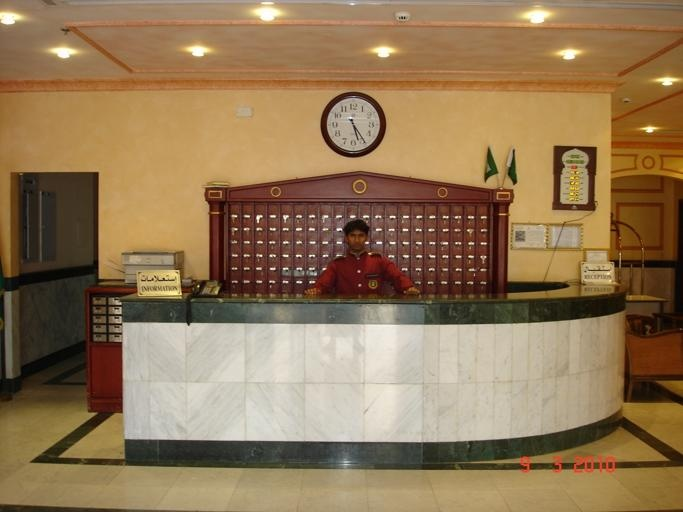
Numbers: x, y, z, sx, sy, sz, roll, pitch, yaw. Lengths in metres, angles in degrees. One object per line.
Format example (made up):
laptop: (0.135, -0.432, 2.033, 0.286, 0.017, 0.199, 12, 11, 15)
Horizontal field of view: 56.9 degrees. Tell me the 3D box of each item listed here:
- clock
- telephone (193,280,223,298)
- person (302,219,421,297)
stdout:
clock: (0.157, -1.701, 8.194, 0.904, 0.832, 0.146, 4, 12, 18)
telephone: (-1.369, 0.341, 6.419, 0.203, 0.048, 0.177, 5, 23, -3)
person: (0.201, -0.215, 7.388, 1.648, 1.260, 0.821, -3, 0, -6)
